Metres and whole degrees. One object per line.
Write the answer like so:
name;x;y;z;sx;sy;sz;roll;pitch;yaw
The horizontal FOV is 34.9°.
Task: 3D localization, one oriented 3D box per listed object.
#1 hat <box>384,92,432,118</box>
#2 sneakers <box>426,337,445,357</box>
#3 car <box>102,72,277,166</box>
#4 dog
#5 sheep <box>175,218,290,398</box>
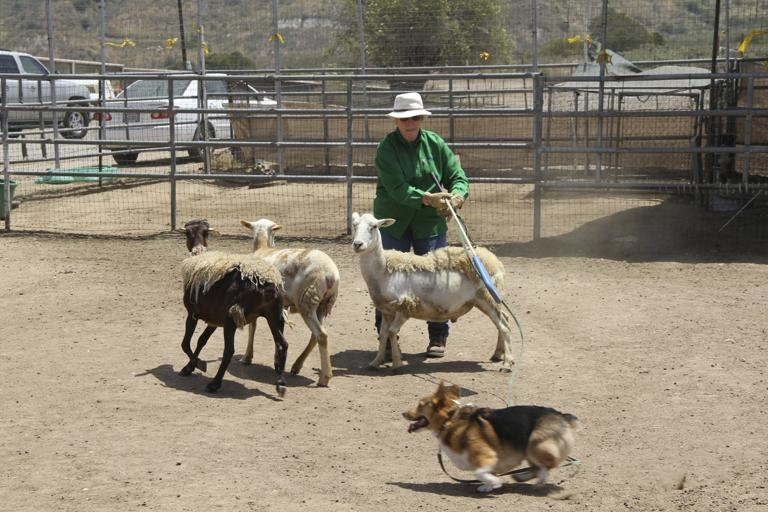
hat;0.333;-2.011;16.243;0.520;0.328;0.356;-2;11;-2
sneakers;0.710;1.218;16.511;0.265;0.240;0.606;0;-4;5
car;-4.011;-3.365;27.881;1.929;1.298;4.242;0;11;-44
dog;1.334;2.119;14.576;2.106;1.127;0.691;-1;0;22
sheep;-2.245;0.584;16.375;1.005;2.031;3.061;4;4;-32
